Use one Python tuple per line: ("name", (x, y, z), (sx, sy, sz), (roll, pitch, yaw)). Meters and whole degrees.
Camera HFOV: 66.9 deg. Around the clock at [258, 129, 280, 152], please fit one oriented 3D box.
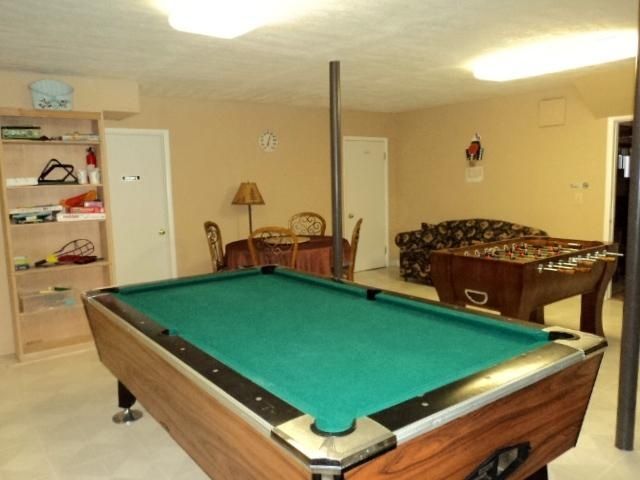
("clock", (-0.722, -1.370, 6.753), (0.323, 0.301, 0.061), (-14, 18, -43))
